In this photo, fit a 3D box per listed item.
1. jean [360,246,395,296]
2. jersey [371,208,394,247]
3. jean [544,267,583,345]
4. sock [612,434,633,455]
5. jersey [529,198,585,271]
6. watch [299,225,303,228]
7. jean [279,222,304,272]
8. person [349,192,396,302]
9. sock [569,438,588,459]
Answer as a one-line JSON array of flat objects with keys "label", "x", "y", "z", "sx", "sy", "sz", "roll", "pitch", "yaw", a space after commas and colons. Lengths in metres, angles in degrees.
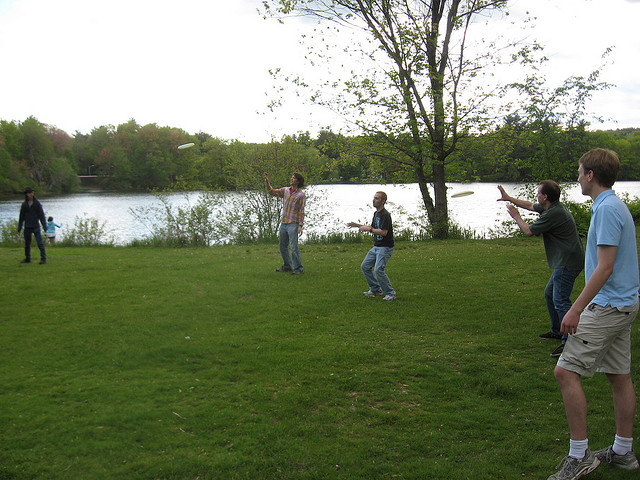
[{"label": "jean", "x": 1.290, "y": 0.682, "z": 13.786, "sx": 0.509, "sy": 1.096, "sz": 0.692, "roll": -7, "pitch": 12, "yaw": -35}, {"label": "jersey", "x": 1.387, "y": -0.245, "z": 13.726, "sx": 0.506, "sy": 0.846, "sz": 0.732, "roll": 0, "pitch": 0, "yaw": -18}, {"label": "jean", "x": 4.225, "y": 1.128, "z": 10.812, "sx": 0.398, "sy": 1.350, "sz": 0.825, "roll": 1, "pitch": 10, "yaw": 5}, {"label": "sock", "x": 3.861, "y": 2.634, "z": 7.983, "sx": 0.275, "sy": 0.247, "sz": 0.167, "roll": -5, "pitch": 6, "yaw": -2}, {"label": "jersey", "x": 4.058, "y": -0.038, "z": 10.650, "sx": 0.908, "sy": 1.137, "sz": 0.553, "roll": 1, "pitch": 10, "yaw": 6}, {"label": "watch", "x": -0.500, "y": -0.345, "z": 15.897, "sx": 0.036, "sy": 0.062, "sz": 0.108, "roll": -7, "pitch": 12, "yaw": -35}, {"label": "jean", "x": -0.762, "y": 0.204, "z": 16.432, "sx": 0.584, "sy": 1.393, "sz": 0.971, "roll": -1, "pitch": 10, "yaw": -2}, {"label": "person", "x": 1.271, "y": 0.136, "z": 13.704, "sx": 0.818, "sy": 2.389, "sz": 1.322, "roll": 1, "pitch": 10, "yaw": 6}, {"label": "sock", "x": 3.216, "y": 2.631, "z": 7.828, "sx": 0.208, "sy": 0.218, "sz": 0.245, "roll": -3, "pitch": 4, "yaw": 8}]
